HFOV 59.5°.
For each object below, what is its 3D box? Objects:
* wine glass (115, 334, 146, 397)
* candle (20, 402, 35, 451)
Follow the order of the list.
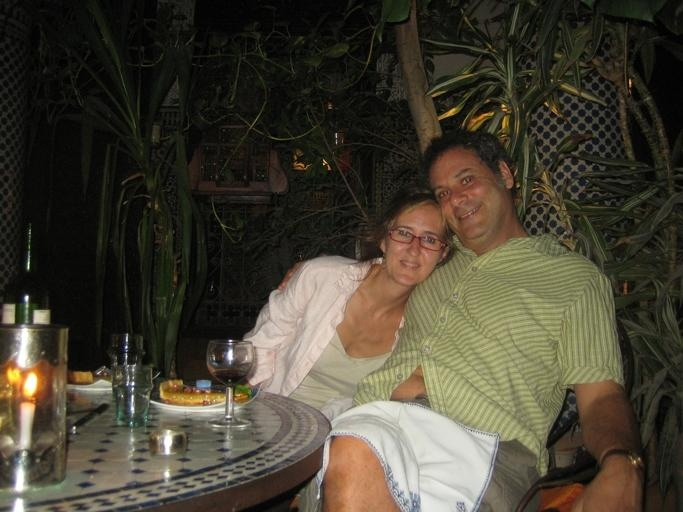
[{"bbox_3d":[-0.858,0.427,2.375,0.162,0.234,0.158,3,-3,-31],"label":"wine glass"},{"bbox_3d":[-0.768,0.414,1.450,0.032,0.115,0.027,2,-6,-18],"label":"candle"}]
